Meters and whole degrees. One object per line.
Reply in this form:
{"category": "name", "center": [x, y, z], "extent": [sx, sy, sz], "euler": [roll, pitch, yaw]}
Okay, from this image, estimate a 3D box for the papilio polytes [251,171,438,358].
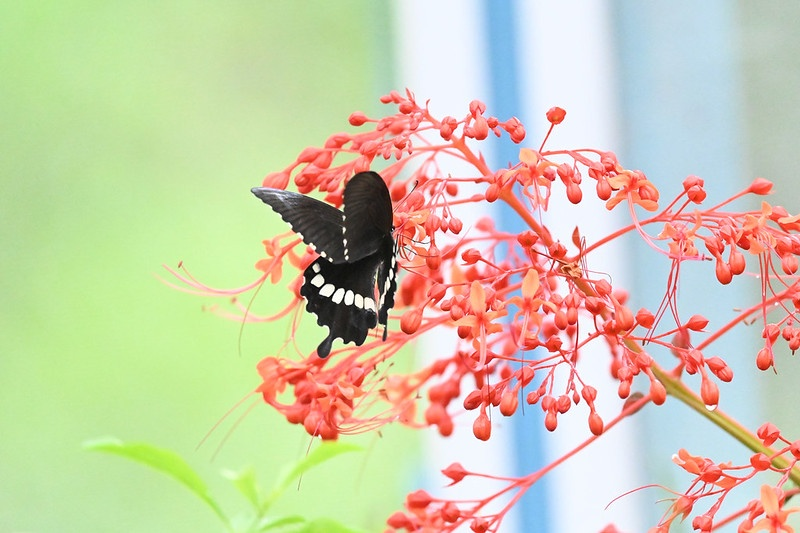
{"category": "papilio polytes", "center": [-0.119, 0.045, 2.429], "extent": [0.369, 0.555, 0.517], "euler": [-10, -13, 29]}
